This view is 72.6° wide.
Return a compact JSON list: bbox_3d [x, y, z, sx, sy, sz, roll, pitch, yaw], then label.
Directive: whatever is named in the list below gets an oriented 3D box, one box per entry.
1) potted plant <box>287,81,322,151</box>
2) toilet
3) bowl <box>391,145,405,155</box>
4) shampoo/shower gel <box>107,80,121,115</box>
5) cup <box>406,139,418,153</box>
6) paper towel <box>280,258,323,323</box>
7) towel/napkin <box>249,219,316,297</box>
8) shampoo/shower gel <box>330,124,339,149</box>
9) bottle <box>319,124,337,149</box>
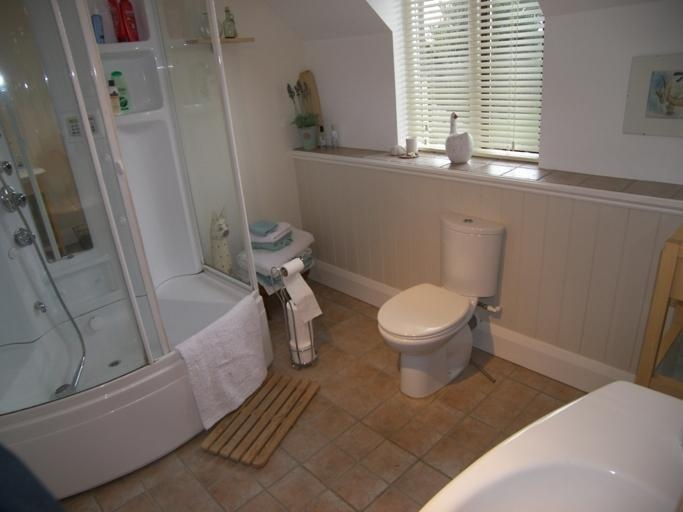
[{"bbox_3d":[-0.281,-1.042,3.423,0.218,0.480,0.179,9,25,27],"label":"potted plant"},{"bbox_3d":[0.533,0.285,2.546,0.425,0.860,0.740,20,33,40],"label":"toilet"},{"bbox_3d":[0.369,-0.686,3.021,0.089,0.058,0.098,-1,23,5],"label":"bowl"},{"bbox_3d":[-1.255,-0.883,2.562,0.027,0.178,0.077,6,24,20],"label":"shampoo/shower gel"},{"bbox_3d":[0.442,-0.702,2.952,0.077,0.099,0.083,-1,27,1],"label":"cup"},{"bbox_3d":[-0.237,0.205,2.690,0.180,0.360,0.217,-18,27,-33],"label":"paper towel"},{"bbox_3d":[-0.401,0.026,3.042,0.411,0.166,0.431,25,38,30],"label":"towel/napkin"},{"bbox_3d":[-0.049,-0.890,3.420,0.059,0.155,0.099,-2,23,2],"label":"shampoo/shower gel"},{"bbox_3d":[-0.100,-0.890,3.424,0.127,0.136,0.075,22,38,34],"label":"bottle"}]
